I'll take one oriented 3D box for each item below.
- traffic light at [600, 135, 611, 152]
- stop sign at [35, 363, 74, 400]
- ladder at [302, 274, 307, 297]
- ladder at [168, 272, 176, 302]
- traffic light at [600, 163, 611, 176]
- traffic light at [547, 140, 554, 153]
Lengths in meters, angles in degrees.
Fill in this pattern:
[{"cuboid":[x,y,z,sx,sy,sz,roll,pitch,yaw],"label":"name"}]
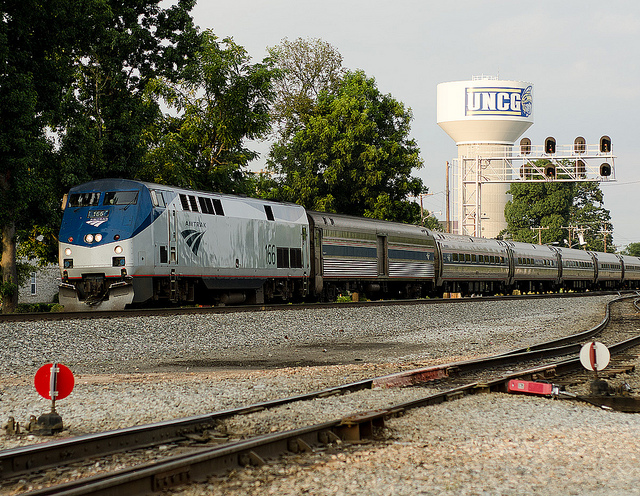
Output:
[{"cuboid":[17.467,-6.334,39.972,0.527,0.924,1.013,0,-1,23],"label":"traffic light"},{"cuboid":[-3.541,1.780,8.690,0.454,0.465,0.268,0,-1,22],"label":"stop sign"},{"cuboid":[-0.684,1.648,28.327,0.155,0.904,0.219,2,3,-7],"label":"ladder"},{"cuboid":[-4.890,1.274,21.610,0.157,0.941,0.385,0,-1,16],"label":"ladder"},{"cuboid":[17.456,-4.764,39.873,0.572,0.791,0.509,0,-1,31],"label":"traffic light"},{"cuboid":[14.840,-6.481,41.943,0.197,1.249,0.351,4,7,10],"label":"traffic light"}]
